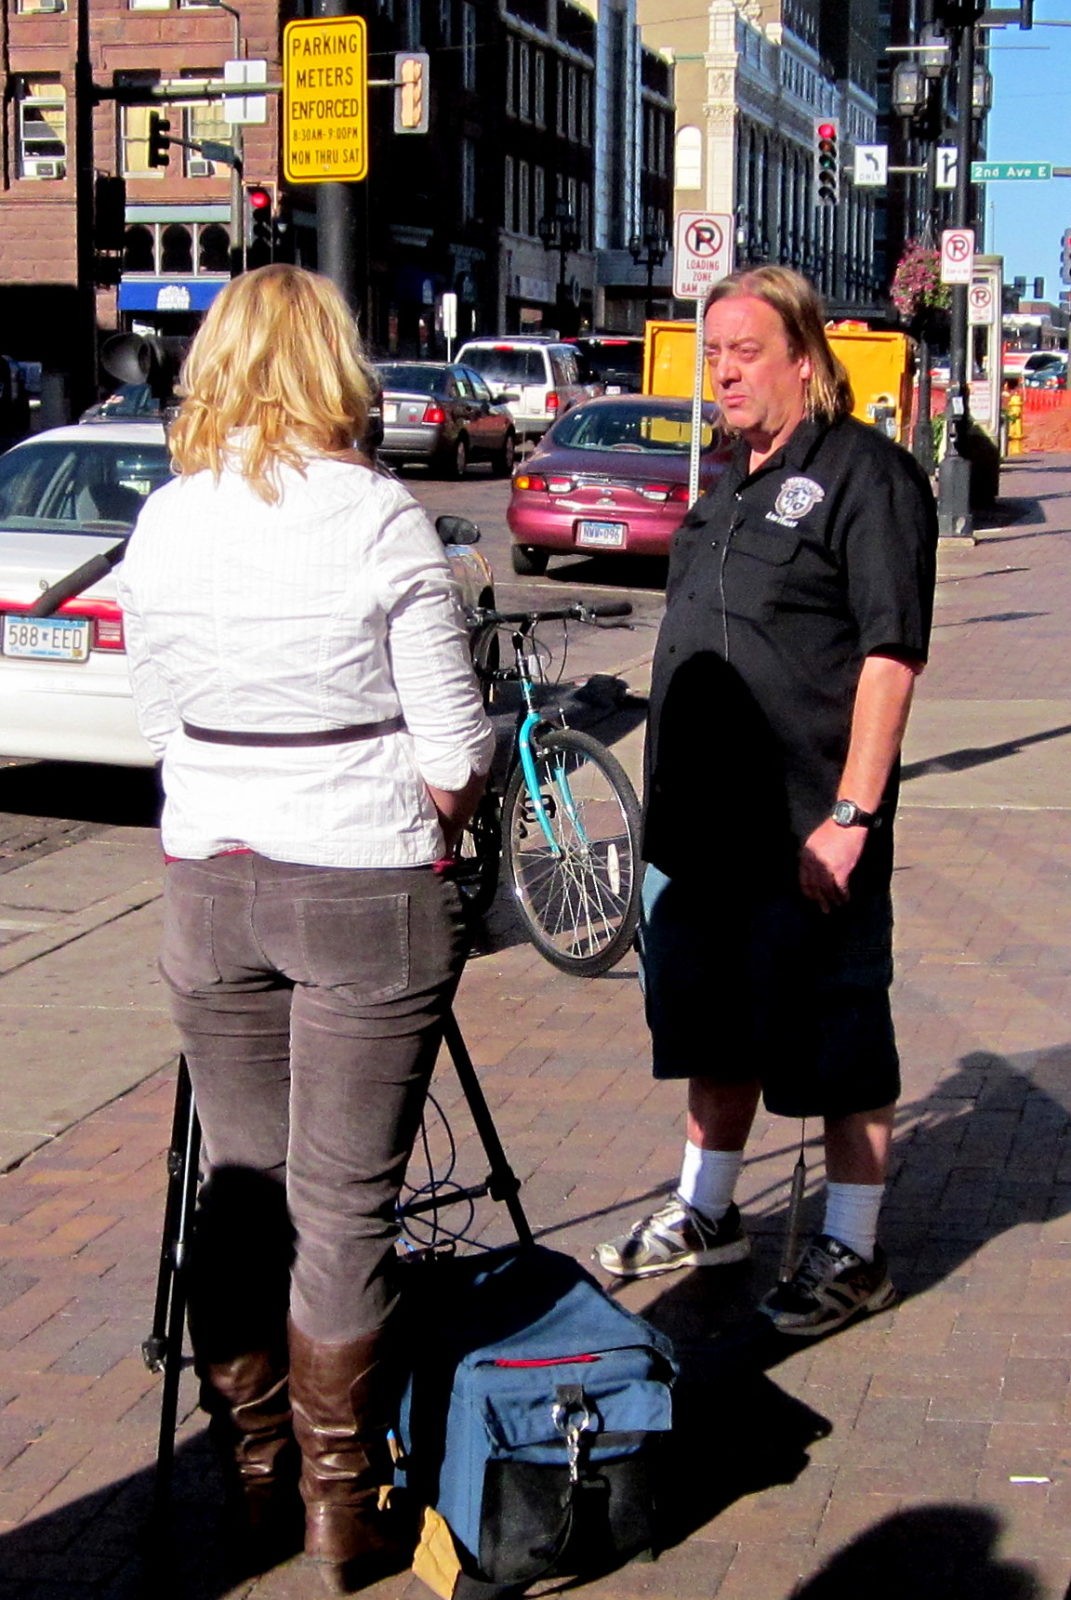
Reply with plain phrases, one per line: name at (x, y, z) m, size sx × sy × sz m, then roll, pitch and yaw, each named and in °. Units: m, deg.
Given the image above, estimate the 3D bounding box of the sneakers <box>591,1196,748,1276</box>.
sneakers at (0.262, 0.831, 3.692) m, size 0.299 × 0.135 × 0.116 m, roll -2°, pitch 5°, yaw -13°

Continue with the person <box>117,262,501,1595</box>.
person at (-0.285, 0.162, 2.524) m, size 0.307 × 1.663 × 0.435 m, roll -11°, pitch 17°, yaw -41°

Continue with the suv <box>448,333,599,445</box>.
suv at (-0.270, -6.983, 32.746) m, size 1.489 × 1.178 × 2.720 m, roll 3°, pitch 20°, yaw 15°

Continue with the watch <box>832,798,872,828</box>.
watch at (0.501, 0.025, 3.082) m, size 0.060 × 0.037 × 0.059 m, roll 12°, pitch 1°, yaw -7°

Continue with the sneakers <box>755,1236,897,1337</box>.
sneakers at (0.504, 0.844, 3.374) m, size 0.307 × 0.138 × 0.108 m, roll -7°, pitch 9°, yaw -41°

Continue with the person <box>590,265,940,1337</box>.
person at (0.414, 0.009, 3.326) m, size 0.294 × 1.791 × 0.573 m, roll -11°, pitch 17°, yaw -41°
